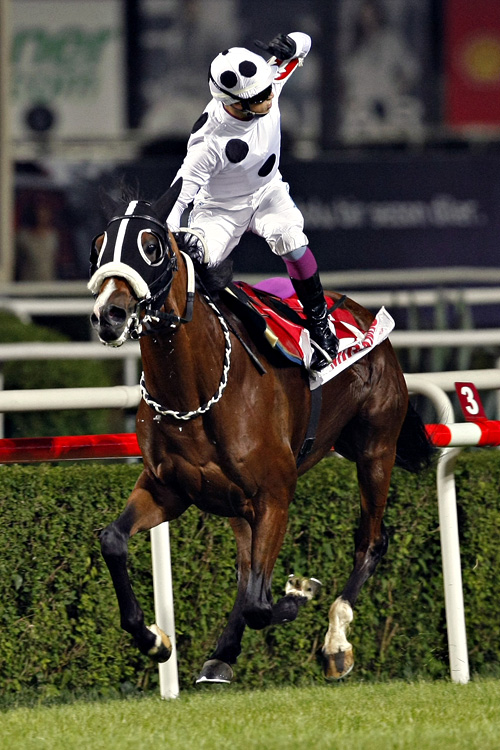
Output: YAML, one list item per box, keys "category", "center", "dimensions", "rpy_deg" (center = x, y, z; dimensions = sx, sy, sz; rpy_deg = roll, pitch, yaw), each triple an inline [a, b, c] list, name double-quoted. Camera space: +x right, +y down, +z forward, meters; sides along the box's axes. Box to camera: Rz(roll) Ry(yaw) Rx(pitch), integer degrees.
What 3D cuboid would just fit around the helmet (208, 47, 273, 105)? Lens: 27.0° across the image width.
- category: "helmet"
  center: [-0.028, -0.718, 2.596]
  dimensions: [0.172, 0.116, 0.106]
  rpy_deg: [-14, -34, 31]
